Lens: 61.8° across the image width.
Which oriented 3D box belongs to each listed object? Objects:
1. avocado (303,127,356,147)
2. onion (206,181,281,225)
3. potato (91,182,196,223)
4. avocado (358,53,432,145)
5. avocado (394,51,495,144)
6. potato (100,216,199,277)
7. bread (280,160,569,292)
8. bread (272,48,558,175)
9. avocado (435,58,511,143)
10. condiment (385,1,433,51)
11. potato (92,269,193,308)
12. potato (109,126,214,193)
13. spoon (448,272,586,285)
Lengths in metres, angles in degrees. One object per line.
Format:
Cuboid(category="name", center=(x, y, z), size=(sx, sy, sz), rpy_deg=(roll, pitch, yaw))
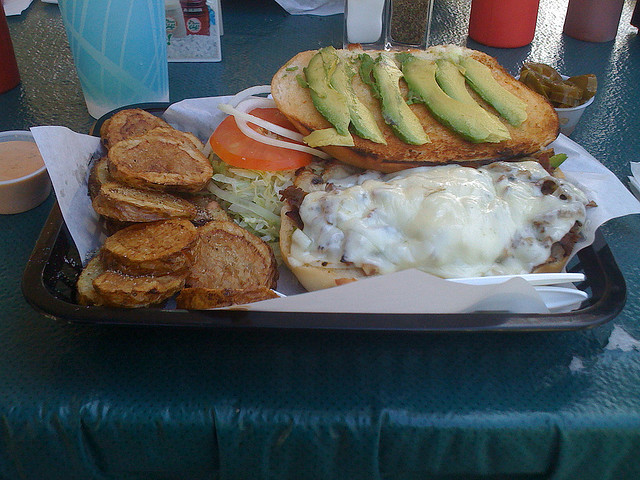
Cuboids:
Cuboid(category="avocado", center=(0.022, -0.274, 1.456), size=(0.137, 0.055, 0.071), rpy_deg=(4, 31, 0))
Cuboid(category="onion", center=(-0.218, -0.106, 1.573), size=(0.367, 0.037, 0.045), rpy_deg=(16, 16, 8))
Cuboid(category="potato", center=(-0.442, -0.080, 1.344), size=(0.198, 0.033, 0.148), rpy_deg=(4, 16, -19))
Cuboid(category="avocado", center=(0.186, -0.406, 1.553), size=(0.140, 0.047, 0.356), rpy_deg=(-21, 55, -19))
Cuboid(category="avocado", center=(0.336, -0.412, 1.540), size=(0.204, 0.200, 0.364), rpy_deg=(-3, 30, -14))
Cuboid(category="potato", center=(-0.413, 0.014, 1.292), size=(0.219, 0.093, 0.179), rpy_deg=(-6, 31, -17))
Cuboid(category="bread", center=(0.180, -0.002, 1.228), size=(0.688, 0.072, 0.327), rpy_deg=(-3, 56, -2))
Cuboid(category="bread", center=(0.238, -0.321, 1.461), size=(0.811, 0.098, 0.376), rpy_deg=(3, 52, -1))
Cuboid(category="avocado", center=(0.429, -0.399, 1.544), size=(0.125, 0.049, 0.343), rpy_deg=(-38, 64, -19))
Cuboid(category="condiment", center=(0.353, -0.872, 2.178), size=(0.204, 0.195, 0.136), rpy_deg=(10, 35, 6))
Cuboid(category="potato", center=(-0.409, 0.112, 1.228), size=(0.152, 0.027, 0.124), rpy_deg=(4, 15, 1))
Cuboid(category="potato", center=(-0.476, -0.238, 1.558), size=(0.279, 0.294, 0.065), rpy_deg=(25, 85, 10))
Cuboid(category="spoon", center=(0.474, 0.092, 1.247), size=(0.179, 0.017, 0.098), rpy_deg=(-4, -6, 12))
